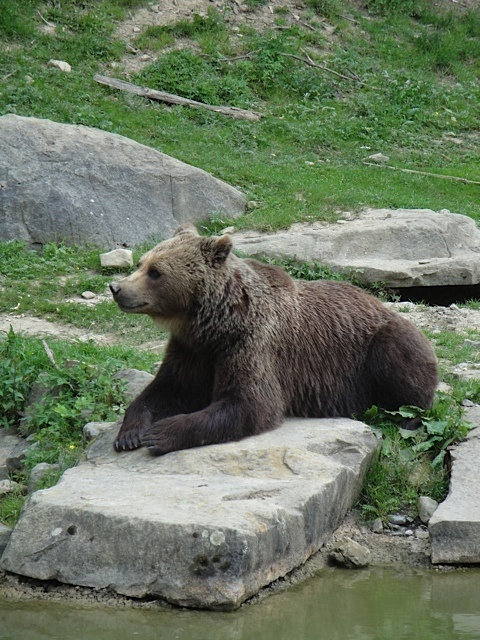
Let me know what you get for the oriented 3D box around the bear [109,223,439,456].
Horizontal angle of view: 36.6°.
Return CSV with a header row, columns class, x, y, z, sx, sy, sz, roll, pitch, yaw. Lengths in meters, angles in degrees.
class,x,y,z,sx,sy,sz,roll,pitch,yaw
bear,0.066,0.133,4.767,2.238,1.046,1.227,4,-2,-22
